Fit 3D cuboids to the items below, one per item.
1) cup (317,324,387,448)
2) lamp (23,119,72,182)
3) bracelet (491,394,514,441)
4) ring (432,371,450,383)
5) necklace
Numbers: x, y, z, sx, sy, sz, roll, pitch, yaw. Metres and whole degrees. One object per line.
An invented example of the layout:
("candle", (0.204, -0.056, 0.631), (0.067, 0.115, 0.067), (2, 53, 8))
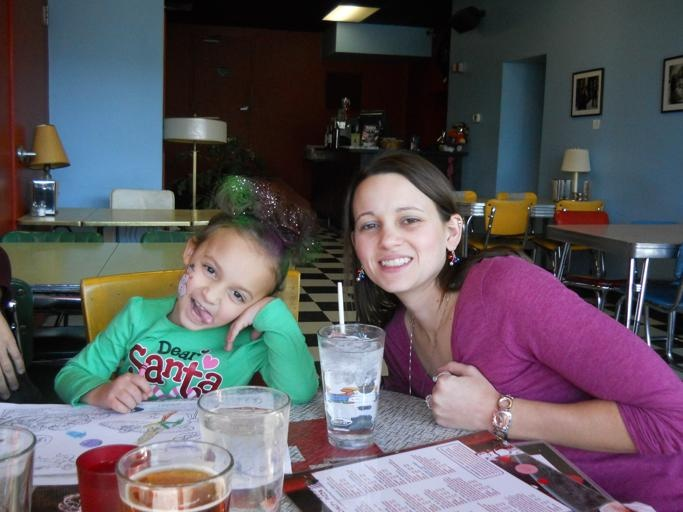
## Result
("cup", (0.019, 0.236, 0.975), (0.120, 0.204, 0.189), (-1, 9, 1))
("lamp", (-2.396, -0.831, 4.104), (0.335, 0.445, 0.388), (-6, 10, -29))
("bracelet", (0.325, 0.331, 1.033), (0.033, 0.086, 0.044), (4, 10, 31))
("ring", (0.207, 0.254, 1.084), (0.033, 0.028, 0.012), (-37, 58, -10))
("necklace", (0.214, 0.185, 1.351), (0.056, 0.347, 0.038), (5, 0, 23))
